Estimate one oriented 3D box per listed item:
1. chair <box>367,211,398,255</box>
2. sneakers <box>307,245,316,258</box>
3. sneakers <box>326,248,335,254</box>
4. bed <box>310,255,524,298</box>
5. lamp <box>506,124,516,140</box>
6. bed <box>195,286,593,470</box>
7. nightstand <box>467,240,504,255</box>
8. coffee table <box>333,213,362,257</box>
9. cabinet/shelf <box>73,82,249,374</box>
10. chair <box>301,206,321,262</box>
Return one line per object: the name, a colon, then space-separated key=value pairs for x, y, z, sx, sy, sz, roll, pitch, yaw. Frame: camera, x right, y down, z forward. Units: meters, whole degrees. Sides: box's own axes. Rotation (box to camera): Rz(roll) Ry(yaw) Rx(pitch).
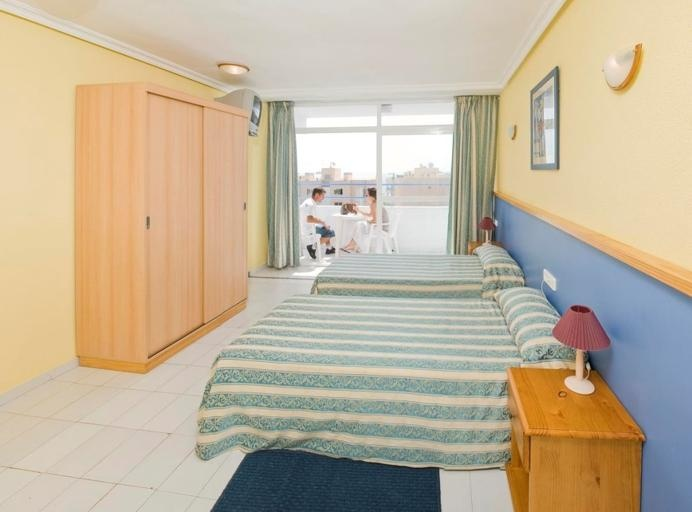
chair: x=0.754 y=-0.363 z=7.475 sx=0.617 sy=0.795 sz=0.619 roll=3 pitch=4 yaw=17
sneakers: x=-0.571 y=-0.080 z=7.818 sx=0.087 sy=0.244 sz=0.102 roll=-17 pitch=0 yaw=-38
sneakers: x=-0.269 y=-0.088 z=8.050 sx=0.167 sy=0.066 sz=0.059 roll=-6 pitch=13 yaw=-12
bed: x=0.573 y=0.200 z=4.446 sx=1.231 sy=0.238 sz=0.762 roll=2 pitch=7 yaw=9
lamp: x=1.936 y=-1.441 z=5.387 sx=0.103 sy=0.170 sz=0.367 roll=4 pitch=14 yaw=17
bed: x=0.215 y=0.741 z=2.890 sx=1.623 sy=0.506 sz=1.279 roll=2 pitch=8 yaw=11
nightstand: x=1.824 y=-0.148 z=6.171 sx=0.347 sy=0.223 sz=0.307 roll=-3 pitch=6 yaw=2
coffee table: x=0.023 y=-0.371 z=7.725 sx=0.621 sy=0.662 sz=0.596 roll=0 pitch=2 yaw=0
cabinet/shelf: x=-1.684 y=-0.330 z=4.213 sx=0.694 sy=2.252 sz=1.560 roll=5 pitch=15 yaw=22
chair: x=-0.585 y=-0.434 z=7.590 sx=0.279 sy=1.036 sz=0.407 roll=-1 pitch=14 yaw=0
